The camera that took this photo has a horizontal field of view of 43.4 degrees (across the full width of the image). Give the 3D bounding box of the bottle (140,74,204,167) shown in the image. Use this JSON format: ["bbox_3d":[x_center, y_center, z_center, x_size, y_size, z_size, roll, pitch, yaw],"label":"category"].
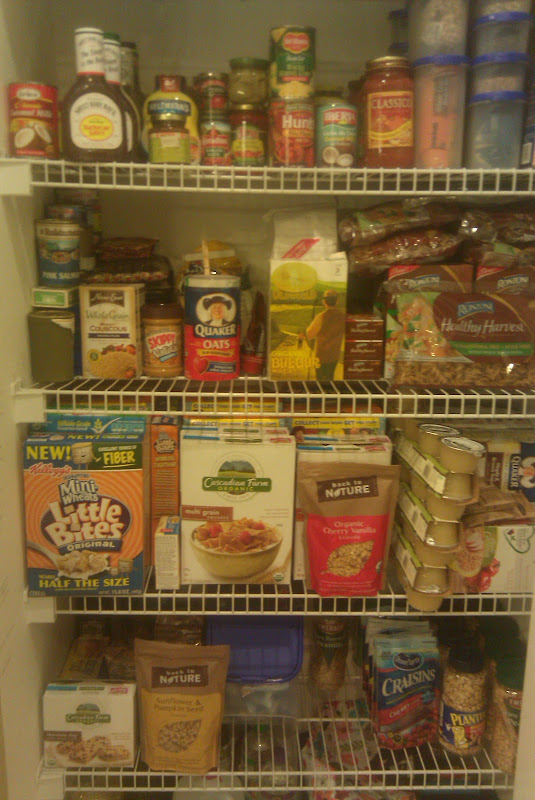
[{"bbox_3d":[-0.159,-0.451,1.083,0.092,0.139,0.122,-5,17,-6],"label":"bottle"}]

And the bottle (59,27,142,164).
[{"bbox_3d":[-0.260,-0.464,1.033,0.127,0.189,0.083,-12,19,-27],"label":"bottle"}]

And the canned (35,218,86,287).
[{"bbox_3d":[-0.359,-0.250,1.146,0.070,0.112,0.031,-6,17,-11],"label":"canned"}]

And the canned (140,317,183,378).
[{"bbox_3d":[-0.192,-0.109,1.208,0.079,0.130,0.081,10,16,33],"label":"canned"}]
